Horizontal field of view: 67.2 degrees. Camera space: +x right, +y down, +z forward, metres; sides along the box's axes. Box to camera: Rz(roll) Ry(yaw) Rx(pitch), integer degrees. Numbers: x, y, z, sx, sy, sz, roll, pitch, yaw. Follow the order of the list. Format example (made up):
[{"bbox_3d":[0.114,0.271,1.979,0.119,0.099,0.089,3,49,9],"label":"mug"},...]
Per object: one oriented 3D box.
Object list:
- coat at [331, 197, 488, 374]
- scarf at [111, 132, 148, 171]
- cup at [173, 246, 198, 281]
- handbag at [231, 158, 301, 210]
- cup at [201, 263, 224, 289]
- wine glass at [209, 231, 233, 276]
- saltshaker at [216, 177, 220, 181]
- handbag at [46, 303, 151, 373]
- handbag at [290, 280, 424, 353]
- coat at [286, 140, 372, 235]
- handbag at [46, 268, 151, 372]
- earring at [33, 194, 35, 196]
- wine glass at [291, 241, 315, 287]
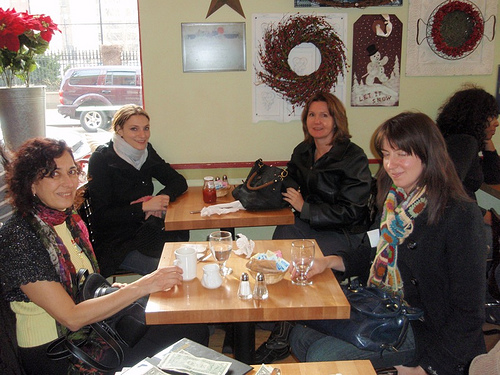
[{"bbox_3d":[0.903,0.426,2.108,0.687,0.948,0.973,-2,13,-14],"label":"coat"},{"bbox_3d":[-1.027,-0.310,3.169,0.319,0.173,0.256,9,6,-27],"label":"scarf"},{"bbox_3d":[-0.334,0.377,1.971,0.081,0.123,0.127,-12,-32,39],"label":"cup"},{"bbox_3d":[0.120,-0.078,3.082,0.437,0.386,0.422,-3,15,-15],"label":"handbag"},{"bbox_3d":[-0.210,0.458,1.904,0.122,0.103,0.125,2,-7,0],"label":"cup"},{"bbox_3d":[-0.155,0.343,2.013,0.134,0.218,0.141,1,8,15],"label":"wine glass"},{"bbox_3d":[-0.307,-0.087,3.546,0.035,0.057,0.040,1,5,0],"label":"saltshaker"},{"bbox_3d":[-0.720,0.713,1.862,0.445,0.192,0.270,-13,11,-22],"label":"handbag"},{"bbox_3d":[0.581,0.621,1.834,0.440,0.160,0.338,0,6,-11],"label":"handbag"},{"bbox_3d":[0.589,-0.024,3.160,0.633,0.809,0.595,0,17,-5],"label":"coat"},{"bbox_3d":[-0.744,0.676,1.953,0.438,0.518,0.426,5,14,-10],"label":"handbag"},{"bbox_3d":[-1.056,0.034,1.837,0.002,0.009,0.010,2,15,16],"label":"earring"},{"bbox_3d":[0.272,0.382,1.939,0.143,0.223,0.134,-1,-3,16],"label":"wine glass"}]
